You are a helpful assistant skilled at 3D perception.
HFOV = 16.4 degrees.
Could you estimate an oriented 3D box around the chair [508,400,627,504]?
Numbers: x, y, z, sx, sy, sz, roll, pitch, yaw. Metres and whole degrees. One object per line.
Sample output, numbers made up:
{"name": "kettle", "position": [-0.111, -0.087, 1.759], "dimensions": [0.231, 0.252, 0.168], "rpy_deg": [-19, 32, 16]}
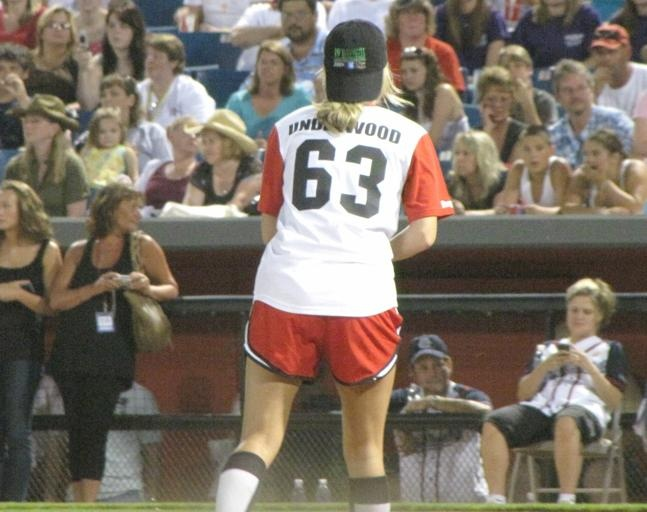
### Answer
{"name": "chair", "position": [1.712, 1.389, 15.497], "dimensions": [0.662, 1.007, 0.774], "rpy_deg": [0, -1, 16]}

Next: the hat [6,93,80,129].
{"name": "hat", "position": [-1.978, -1.019, 16.316], "dimensions": [0.321, 0.132, 0.377], "rpy_deg": [9, -12, 23]}

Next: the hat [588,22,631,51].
{"name": "hat", "position": [2.204, -1.678, 17.179], "dimensions": [0.188, 0.124, 0.266], "rpy_deg": [0, 2, 30]}

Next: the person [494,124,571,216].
{"name": "person", "position": [1.498, -0.573, 16.036], "dimensions": [0.468, 0.589, 0.833], "rpy_deg": [3, 8, 26]}

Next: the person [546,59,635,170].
{"name": "person", "position": [1.928, -1.050, 16.639], "dimensions": [0.866, 0.734, 0.400], "rpy_deg": [-9, -3, 35]}

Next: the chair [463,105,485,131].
{"name": "chair", "position": [1.114, -1.020, 16.896], "dimensions": [0.133, 0.225, 0.235], "rpy_deg": [-6, 4, -10]}

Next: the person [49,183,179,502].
{"name": "person", "position": [-1.500, 0.601, 15.214], "dimensions": [0.794, 2.150, 0.474], "rpy_deg": [2, 3, -6]}

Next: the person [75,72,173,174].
{"name": "person", "position": [-1.515, -0.959, 16.874], "dimensions": [0.557, 0.695, 0.468], "rpy_deg": [-28, -31, 29]}

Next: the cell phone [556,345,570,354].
{"name": "cell phone", "position": [1.605, 0.644, 15.116], "dimensions": [0.083, 0.058, 0.059], "rpy_deg": [2, 3, 6]}

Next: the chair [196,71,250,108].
{"name": "chair", "position": [-0.848, -1.329, 17.975], "dimensions": [0.544, 0.267, 0.477], "rpy_deg": [-2, 0, -4]}

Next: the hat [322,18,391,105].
{"name": "hat", "position": [0.168, -1.147, 13.416], "dimensions": [0.359, 0.512, 0.273], "rpy_deg": [2, -23, 5]}

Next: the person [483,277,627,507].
{"name": "person", "position": [1.546, 0.927, 15.123], "dimensions": [0.974, 1.468, 0.693], "rpy_deg": [2, 3, -3]}

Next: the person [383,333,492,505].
{"name": "person", "position": [0.755, 1.186, 15.365], "dimensions": [0.761, 1.549, 0.520], "rpy_deg": [-16, -43, 15]}

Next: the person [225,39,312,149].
{"name": "person", "position": [-0.408, -1.139, 17.064], "dimensions": [0.932, 0.839, 0.490], "rpy_deg": [1, 6, 20]}
